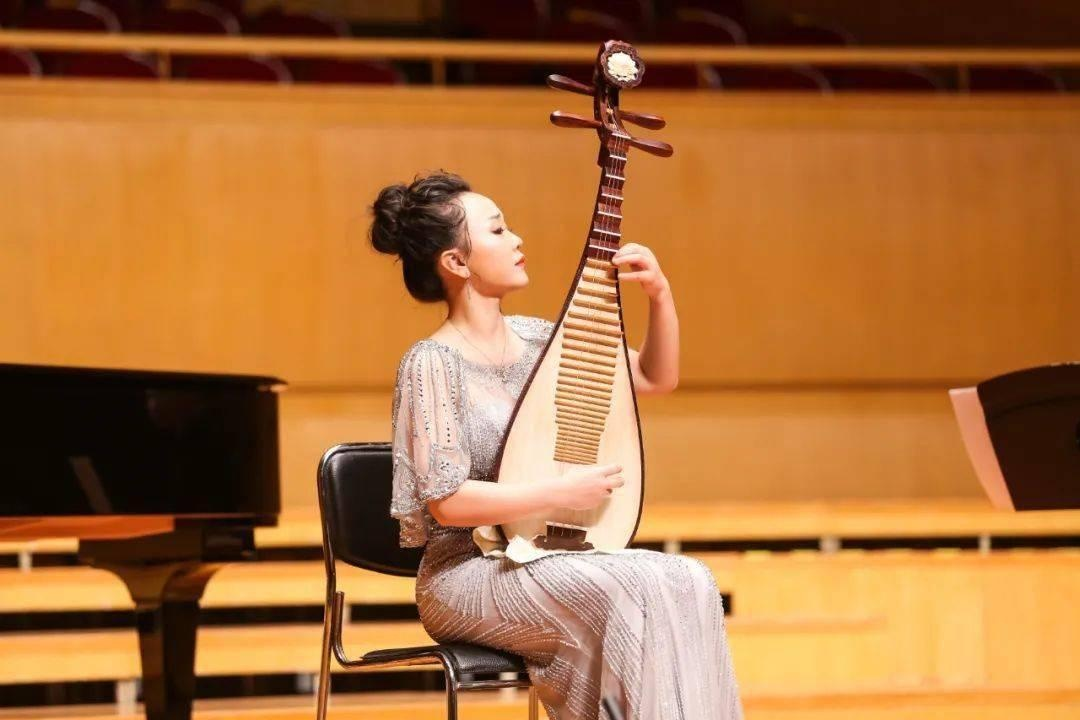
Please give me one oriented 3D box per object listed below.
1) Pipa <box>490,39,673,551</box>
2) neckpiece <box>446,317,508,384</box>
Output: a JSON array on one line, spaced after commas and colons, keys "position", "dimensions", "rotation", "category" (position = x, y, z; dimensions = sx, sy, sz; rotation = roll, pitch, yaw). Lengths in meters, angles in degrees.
[{"position": [0.179, -0.165, 5.939], "dimensions": [0.605, 1.805, 0.264], "rotation": [7, -3, -28], "category": "Pipa"}, {"position": [-0.224, -0.053, 6.113], "dimensions": [0.185, 0.235, 0.122], "rotation": [-22, 1, -13], "category": "neckpiece"}]
